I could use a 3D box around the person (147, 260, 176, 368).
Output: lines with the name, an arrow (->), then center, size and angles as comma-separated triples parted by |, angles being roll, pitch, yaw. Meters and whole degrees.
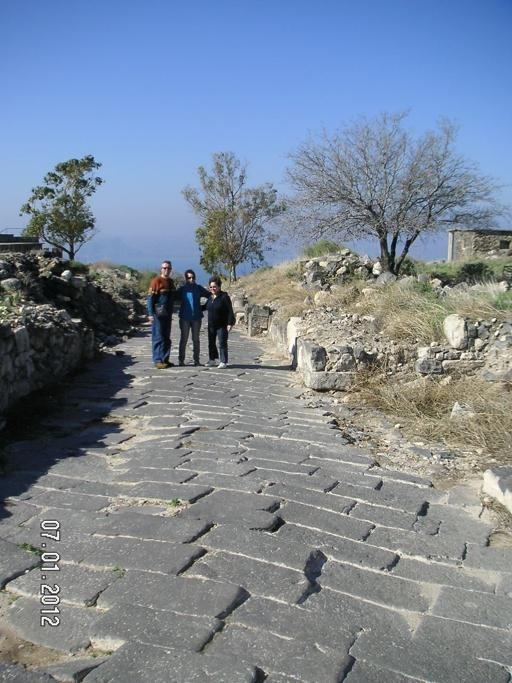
person -> -1.563, -0.432, 8.161 | 0.442, 1.688, 0.978 | 3, 4, -11
